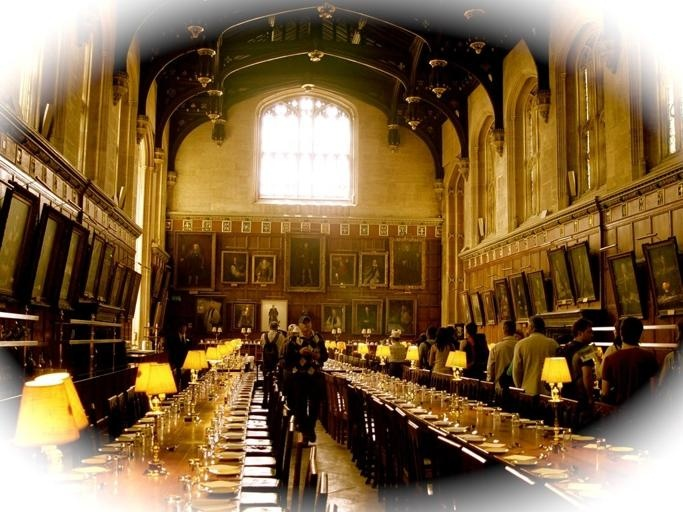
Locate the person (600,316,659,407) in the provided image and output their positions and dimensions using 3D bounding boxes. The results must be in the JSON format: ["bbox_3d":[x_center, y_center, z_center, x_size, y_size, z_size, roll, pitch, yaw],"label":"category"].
[{"bbox_3d":[3.062,1.326,6.050,0.498,1.404,0.402,1,16,19],"label":"person"}]

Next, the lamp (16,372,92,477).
[{"bbox_3d":[-1.732,1.028,3.377,0.350,0.633,0.725,4,-12,-25],"label":"lamp"}]
